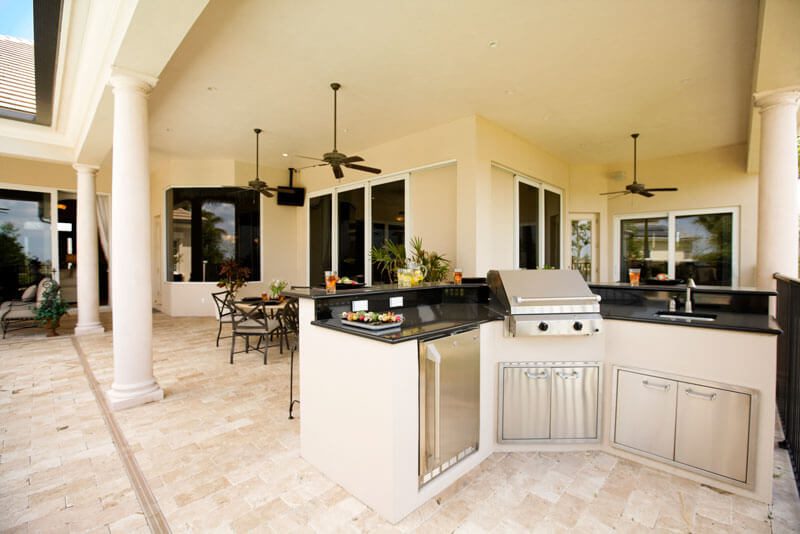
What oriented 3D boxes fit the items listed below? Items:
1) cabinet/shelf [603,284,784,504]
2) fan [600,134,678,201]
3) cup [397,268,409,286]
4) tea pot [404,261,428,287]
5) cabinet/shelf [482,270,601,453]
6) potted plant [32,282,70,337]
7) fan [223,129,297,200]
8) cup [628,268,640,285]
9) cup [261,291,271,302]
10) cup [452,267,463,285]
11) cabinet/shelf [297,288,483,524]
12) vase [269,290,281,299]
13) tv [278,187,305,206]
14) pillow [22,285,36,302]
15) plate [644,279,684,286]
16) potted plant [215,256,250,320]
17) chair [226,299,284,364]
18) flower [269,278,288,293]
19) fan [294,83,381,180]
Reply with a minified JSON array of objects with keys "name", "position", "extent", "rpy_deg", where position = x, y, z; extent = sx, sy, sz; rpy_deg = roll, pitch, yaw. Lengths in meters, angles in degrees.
[{"name":"cabinet/shelf","position":[3.319,1.336,5.920],"extent":[1.958,2.217,1.036],"rpy_deg":[0,2,20]},{"name":"fan","position":[4.425,-1.896,9.627],"extent":[1.253,1.204,1.241],"rpy_deg":[-1,1,-33]},{"name":"cup","position":[0.046,0.122,6.350],"extent":[0.123,0.223,0.223],"rpy_deg":[-1,1,-4]},{"name":"tea pot","position":[0.162,0.077,6.455],"extent":[0.178,0.315,0.409],"rpy_deg":[0,1,28]},{"name":"cabinet/shelf","position":[1.808,1.146,6.620],"extent":[1.484,2.317,1.829],"rpy_deg":[-1,-4,6]},{"name":"potted plant","position":[-6.563,0.763,9.525],"extent":[0.489,1.016,0.607],"rpy_deg":[-2,2,-34]},{"name":"fan","position":[-2.660,-2.028,9.582],"extent":[1.257,1.115,1.447],"rpy_deg":[-7,23,-23]},{"name":"cup","position":[3.026,0.130,6.524],"extent":[0.111,0.202,0.189],"rpy_deg":[0,1,19]},{"name":"cup","position":[-2.495,0.548,9.398],"extent":[0.134,0.137,0.132],"rpy_deg":[-3,-9,-1]},{"name":"cup","position":[0.776,0.133,6.754],"extent":[0.095,0.182,0.366],"rpy_deg":[-1,0,9]},{"name":"cabinet/shelf","position":[-0.072,1.417,5.755],"extent":[1.692,2.300,1.366],"rpy_deg":[0,2,38]},{"name":"vase","position":[-2.187,0.473,8.846],"extent":[0.104,0.102,0.178],"rpy_deg":[-1,6,0]},{"name":"tv","position":[-2.429,-1.573,11.217],"extent":[0.495,0.346,0.067],"rpy_deg":[1,4,5]},{"name":"pillow","position":[-7.146,0.522,9.755],"extent":[0.249,0.207,0.128],"rpy_deg":[-24,-19,15]},{"name":"plate","position":[3.600,0.213,6.939],"extent":[0.248,0.033,0.245],"rpy_deg":[-1,-5,13]},{"name":"potted plant","position":[-3.052,0.274,9.451],"extent":[0.786,1.377,0.668],"rpy_deg":[1,2,-24]},{"name":"chair","position":[-2.417,0.955,8.329],"extent":[0.822,1.042,0.890],"rpy_deg":[7,3,0]},{"name":"flower","position":[-2.197,0.325,9.075],"extent":[0.304,0.217,0.310],"rpy_deg":[-10,-9,44]},{"name":"fan","position":[-0.975,-2.112,8.188],"extent":[1.424,1.253,1.238],"rpy_deg":[0,-1,-6]}]
